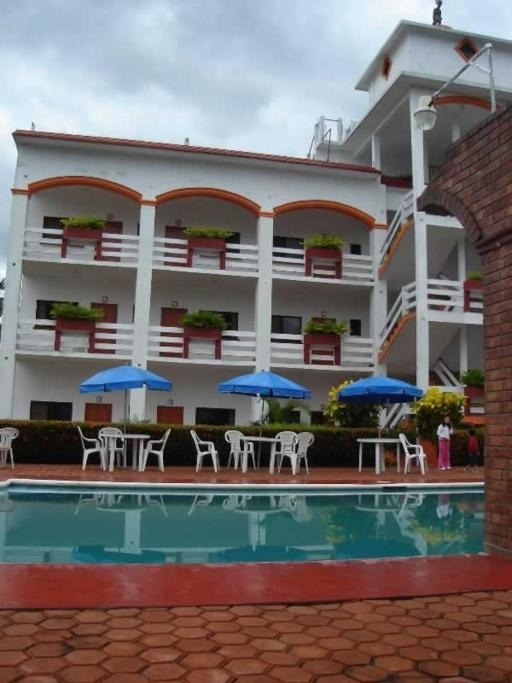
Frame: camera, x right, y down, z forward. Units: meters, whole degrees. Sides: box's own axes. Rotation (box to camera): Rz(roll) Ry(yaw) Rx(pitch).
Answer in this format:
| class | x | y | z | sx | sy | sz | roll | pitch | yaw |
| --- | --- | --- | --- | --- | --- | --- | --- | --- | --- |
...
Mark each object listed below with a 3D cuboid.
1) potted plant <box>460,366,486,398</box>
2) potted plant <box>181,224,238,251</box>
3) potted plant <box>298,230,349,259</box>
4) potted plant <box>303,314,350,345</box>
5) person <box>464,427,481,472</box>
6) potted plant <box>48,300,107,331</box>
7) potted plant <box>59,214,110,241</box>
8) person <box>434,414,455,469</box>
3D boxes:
| class | x | y | z | sx | sy | sz | roll | pitch | yaw |
| --- | --- | --- | --- | --- | --- | --- | --- | --- | --- |
| potted plant | 6.789 | 1.337 | 21.506 | 0.666 | 0.841 | 0.562 | 1 | -7 | 11 |
| potted plant | -1.581 | -3.614 | 23.845 | 1.316 | 0.550 | 1.310 | 1 | -1 | 29 |
| potted plant | 2.366 | -3.436 | 24.718 | 1.167 | 0.738 | 1.178 | -3 | -4 | 42 |
| potted plant | 2.425 | -0.354 | 23.991 | 1.125 | 0.719 | 1.334 | -3 | -6 | 38 |
| person | 5.832 | 2.903 | 18.436 | 0.339 | 1.081 | 1.834 | 0 | -7 | 17 |
| potted plant | -5.888 | -0.801 | 22.106 | 1.190 | 0.557 | 1.169 | -3 | -7 | 34 |
| potted plant | -5.834 | -3.808 | 22.937 | 1.095 | 0.592 | 1.026 | 0 | 0 | -11 |
| person | 4.895 | 2.680 | 17.826 | 0.336 | 1.353 | 0.708 | 0 | -7 | 16 |
